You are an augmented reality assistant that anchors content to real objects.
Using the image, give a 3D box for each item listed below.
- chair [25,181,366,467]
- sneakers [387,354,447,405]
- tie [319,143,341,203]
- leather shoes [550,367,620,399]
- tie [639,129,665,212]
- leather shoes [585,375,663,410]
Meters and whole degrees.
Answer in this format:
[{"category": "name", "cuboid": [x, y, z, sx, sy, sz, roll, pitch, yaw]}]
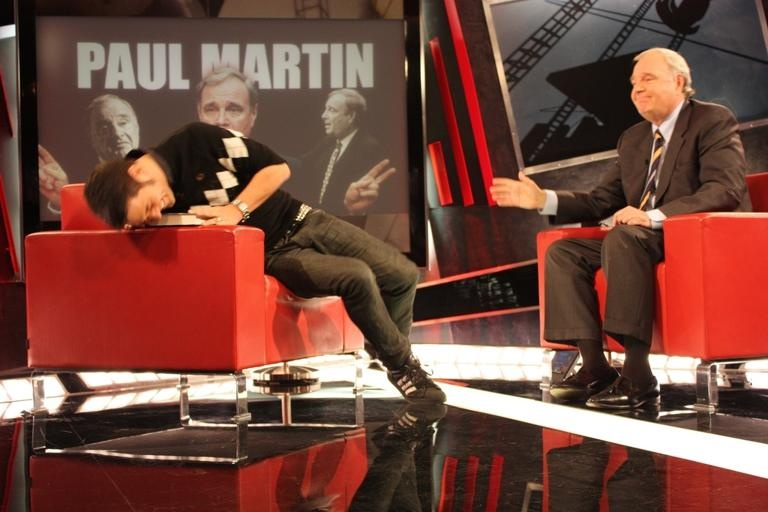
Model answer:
[{"category": "chair", "cuboid": [-0.697, 0.282, 3.765, 1.311, 1.130, 1.461, -4, -3, 37]}, {"category": "sneakers", "cuboid": [0.120, 0.543, 3.614, 0.139, 0.164, 0.367, -26, 22, -30]}, {"category": "tie", "cuboid": [-0.334, -0.529, 4.839, 0.045, 0.400, 0.061, 35, -12, -28]}, {"category": "leather shoes", "cuboid": [0.912, 0.584, 3.598, 0.377, 0.135, 0.141, 1, -1, -21]}, {"category": "tie", "cuboid": [1.264, -0.390, 3.737, 0.085, 0.451, 0.065, 7, -19, 14]}, {"category": "leather shoes", "cuboid": [1.072, 0.598, 3.485, 0.381, 0.114, 0.202, -2, -3, -28]}]
